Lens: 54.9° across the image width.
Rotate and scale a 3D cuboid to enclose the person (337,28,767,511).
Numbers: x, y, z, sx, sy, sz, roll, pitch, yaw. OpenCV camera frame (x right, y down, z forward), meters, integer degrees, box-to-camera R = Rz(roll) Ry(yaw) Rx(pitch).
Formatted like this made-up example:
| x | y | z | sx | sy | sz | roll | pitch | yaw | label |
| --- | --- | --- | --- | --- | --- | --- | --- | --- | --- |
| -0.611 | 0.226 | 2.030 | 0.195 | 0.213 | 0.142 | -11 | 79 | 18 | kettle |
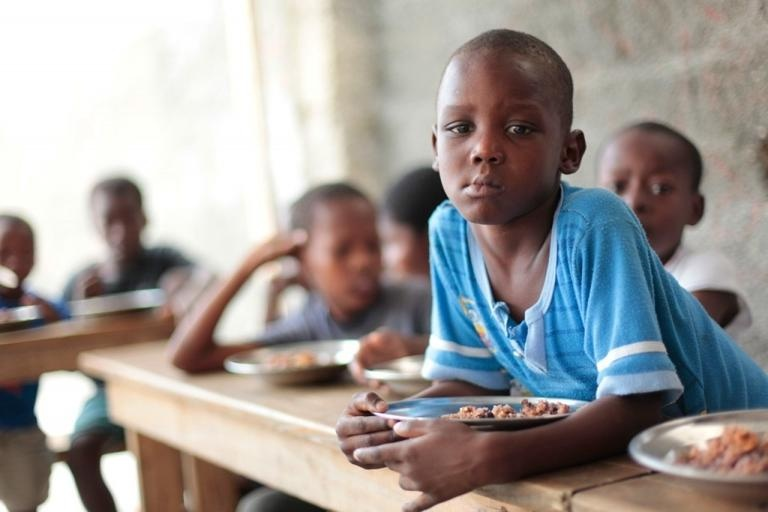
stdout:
| x | y | z | sx | sy | sz | roll | pitch | yaw | label |
| --- | --- | --- | --- | --- | --- | --- | --- | --- | --- |
| 0.303 | -0.003 | 1.406 | 0.721 | 0.861 | 0.536 | 0 | 10 | 26 | person |
